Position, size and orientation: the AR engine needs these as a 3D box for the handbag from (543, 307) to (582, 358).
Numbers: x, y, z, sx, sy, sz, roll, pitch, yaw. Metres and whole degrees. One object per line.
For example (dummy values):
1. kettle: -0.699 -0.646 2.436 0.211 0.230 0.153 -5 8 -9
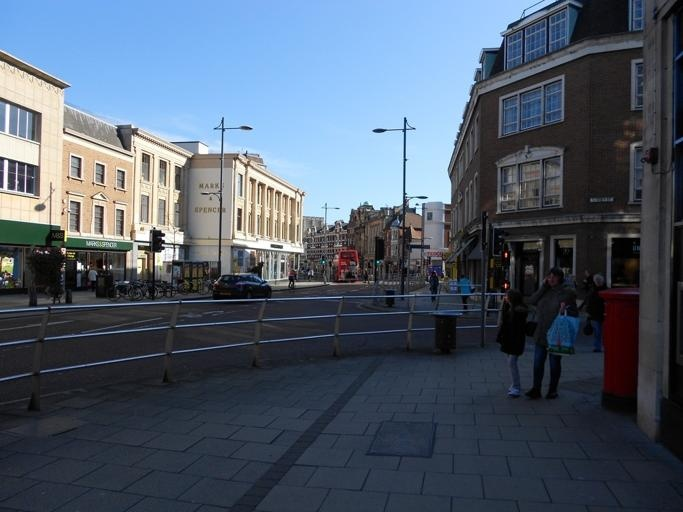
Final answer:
1. handbag: 3.445 1.187 9.772 0.464 0.713 0.343 1 3 20

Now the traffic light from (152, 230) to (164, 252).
1. traffic light: -8.994 -0.730 30.708 0.570 1.185 2.197 -1 3 -16

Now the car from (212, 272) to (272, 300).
1. car: -4.964 1.569 32.483 1.366 1.081 3.022 0 1 24

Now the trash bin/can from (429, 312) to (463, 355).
1. trash bin/can: 2.331 1.722 14.060 0.745 0.970 0.794 0 -4 -7

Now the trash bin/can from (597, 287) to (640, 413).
1. trash bin/can: 4.069 1.363 9.159 0.484 1.696 0.538 1 3 24

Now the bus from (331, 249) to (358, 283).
1. bus: 0.563 1.182 77.690 2.331 3.937 5.082 -1 3 -12
